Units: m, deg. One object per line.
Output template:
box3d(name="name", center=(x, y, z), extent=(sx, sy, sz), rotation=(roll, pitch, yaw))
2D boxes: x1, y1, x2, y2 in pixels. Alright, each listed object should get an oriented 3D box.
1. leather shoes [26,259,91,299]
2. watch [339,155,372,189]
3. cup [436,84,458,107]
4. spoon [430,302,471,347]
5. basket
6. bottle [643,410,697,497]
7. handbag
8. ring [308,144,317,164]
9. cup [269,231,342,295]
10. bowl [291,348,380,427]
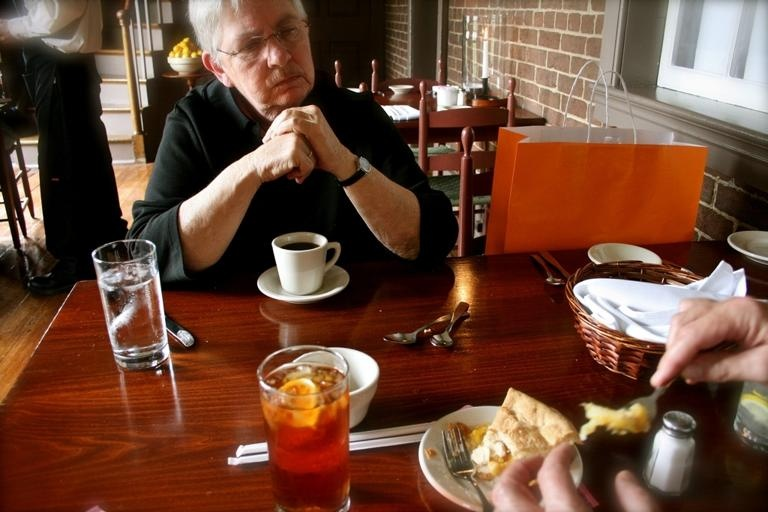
box3d(name="leather shoes", center=(-1.825, 0.097, 3.029), extent=(0.404, 0.179, 0.155), rotation=(-3, 24, -14))
box3d(name="watch", center=(-0.079, -0.221, 1.412), extent=(0.066, 0.039, 0.066), rotation=(-31, 32, 27))
box3d(name="cup", center=(0.392, -0.997, 3.321), extent=(0.121, 0.100, 0.161), rotation=(-1, 17, 2))
box3d(name="spoon", center=(0.148, 0.153, 1.139), extent=(0.038, 0.019, 0.148), rotation=(15, 38, 26))
box3d(name="basket", center=(0.494, 0.105, 1.090), extent=(0.261, 0.093, 0.236), rotation=(-36, 31, -30))
box3d(name="bottle", center=(0.465, 0.307, 0.844), extent=(0.064, 0.114, 0.099), rotation=(15, 26, 34))
box3d(name="handbag", center=(0.621, -0.230, 1.509), extent=(0.488, 0.448, 0.166), rotation=(5, -3, 16))
box3d(name="ring", center=(-0.193, -0.268, 1.395), extent=(0.011, 0.034, 0.037), rotation=(-8, 24, 23))
box3d(name="cup", center=(-0.187, 0.022, 1.274), extent=(0.166, 0.123, 0.134), rotation=(-5, 19, -4))
box3d(name="bowl", center=(-0.078, 0.256, 0.952), extent=(0.117, 0.088, 0.127), rotation=(4, 18, -1))
